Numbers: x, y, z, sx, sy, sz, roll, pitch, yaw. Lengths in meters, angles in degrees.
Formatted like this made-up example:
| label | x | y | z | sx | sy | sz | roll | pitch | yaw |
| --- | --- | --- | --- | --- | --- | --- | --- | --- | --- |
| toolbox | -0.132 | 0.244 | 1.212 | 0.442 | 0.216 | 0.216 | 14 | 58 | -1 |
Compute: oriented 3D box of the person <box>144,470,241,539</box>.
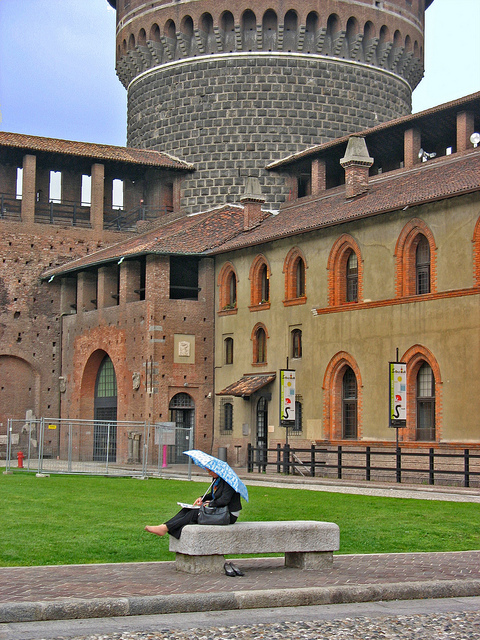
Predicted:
| label | x | y | z | sx | sy | sz | roll | pitch | yaw |
| --- | --- | --- | --- | --- | --- | --- | --- | --- | --- |
| person | -0.564 | 2.239 | 15.091 | 1.265 | 0.852 | 0.542 | -7 | -2 | -27 |

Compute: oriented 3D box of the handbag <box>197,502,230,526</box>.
| label | x | y | z | sx | sy | sz | roll | pitch | yaw |
| --- | --- | --- | --- | --- | --- | --- | --- | --- | --- |
| handbag | -0.317 | 2.409 | 14.941 | 0.370 | 0.370 | 0.183 | 1 | -47 | -1 |

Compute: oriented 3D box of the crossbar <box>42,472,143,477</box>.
| label | x | y | z | sx | sy | sz | roll | pitch | yaw |
| --- | --- | --- | --- | --- | --- | --- | --- | --- | --- |
| crossbar | -4.243 | 4.667 | 36.882 | 3.216 | 0.105 | 0.992 | 8 | -13 | -39 |

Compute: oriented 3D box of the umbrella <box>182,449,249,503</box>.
| label | x | y | z | sx | sy | sz | roll | pitch | yaw |
| --- | --- | --- | --- | --- | --- | --- | --- | --- | --- |
| umbrella | -0.265 | 1.915 | 15.107 | 0.698 | 0.609 | 0.603 | 1 | -9 | -7 |
